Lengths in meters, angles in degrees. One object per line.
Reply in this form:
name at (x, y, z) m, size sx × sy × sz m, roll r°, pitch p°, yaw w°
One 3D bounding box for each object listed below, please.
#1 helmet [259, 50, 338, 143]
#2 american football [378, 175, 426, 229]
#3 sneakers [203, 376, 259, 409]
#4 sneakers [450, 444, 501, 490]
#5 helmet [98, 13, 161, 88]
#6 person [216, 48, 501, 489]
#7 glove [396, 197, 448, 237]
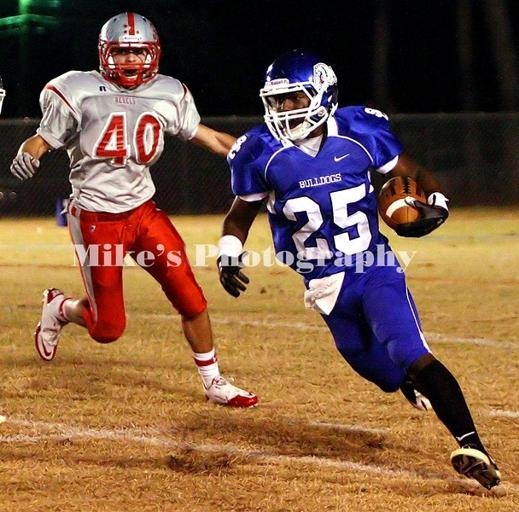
helmet at (0.173, -0.689, 3.103) m, size 0.299 × 0.287 × 0.382 m, roll 7°, pitch 27°, yaw 43°
american football at (0.558, -0.227, 3.044) m, size 0.198 × 0.140 × 0.241 m, roll -3°, pitch 37°, yaw 0°
sneakers at (-0.149, 0.680, 3.709) m, size 0.330 × 0.107 × 0.105 m, roll 6°, pitch 15°, yaw 20°
sneakers at (0.722, 0.691, 2.484) m, size 0.210 × 0.091 × 0.083 m, roll 28°, pitch 22°, yaw 4°
helmet at (-0.591, -1.003, 3.631) m, size 0.364 × 0.310 × 0.369 m, roll -2°, pitch 50°, yaw -9°
person at (0.395, -0.107, 2.947) m, size 1.061 × 1.455 × 0.620 m, roll 6°, pitch 12°, yaw 34°
glove at (0.658, -0.147, 2.973) m, size 0.189 × 0.162 × 0.208 m, roll 6°, pitch 11°, yaw 36°
